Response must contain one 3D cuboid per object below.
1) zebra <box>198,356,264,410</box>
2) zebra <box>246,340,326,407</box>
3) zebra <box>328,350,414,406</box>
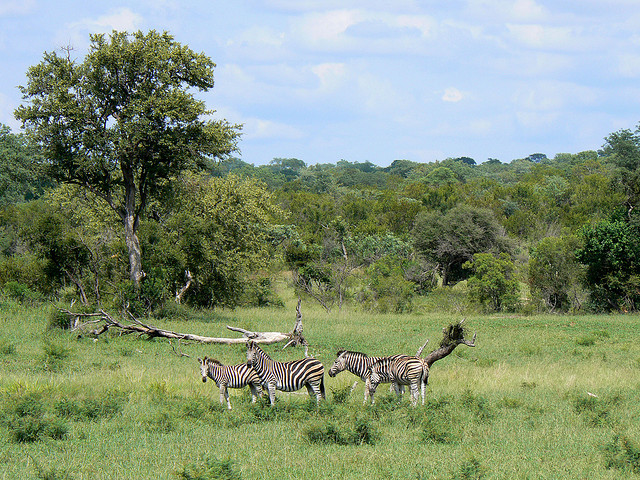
[{"bbox_3d":[-4.180,6.948,51.737,3.172,2.645,0.998,-3,0,-9],"label":"zebra"},{"bbox_3d":[-1.670,6.721,51.641,4.102,3.264,1.372,3,2,-6],"label":"zebra"},{"bbox_3d":[2.776,6.781,52.459,4.564,3.701,1.165,-2,22,0],"label":"zebra"}]
